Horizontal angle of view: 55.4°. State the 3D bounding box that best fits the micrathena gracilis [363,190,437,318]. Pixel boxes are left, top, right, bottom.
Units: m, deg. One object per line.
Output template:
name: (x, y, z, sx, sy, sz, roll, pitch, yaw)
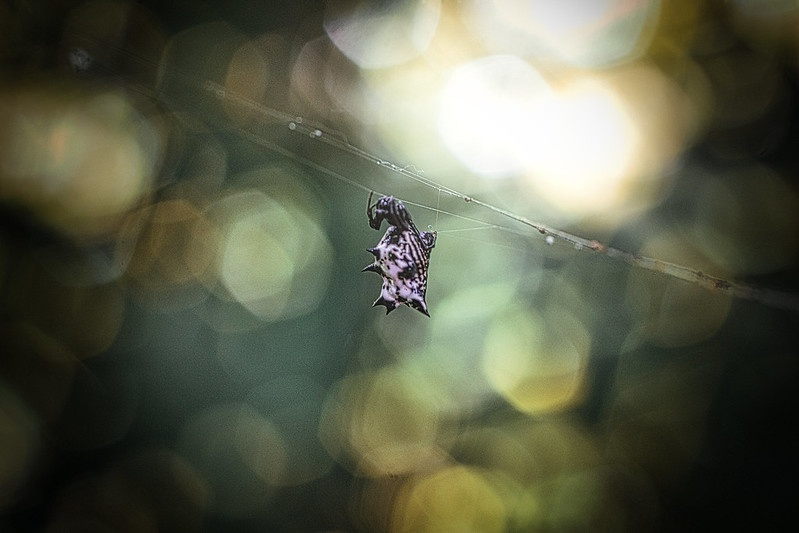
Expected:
micrathena gracilis: (-0.011, -0.054, 3.436, 0.172, 0.513, 0.401, 3, -25, -27)
